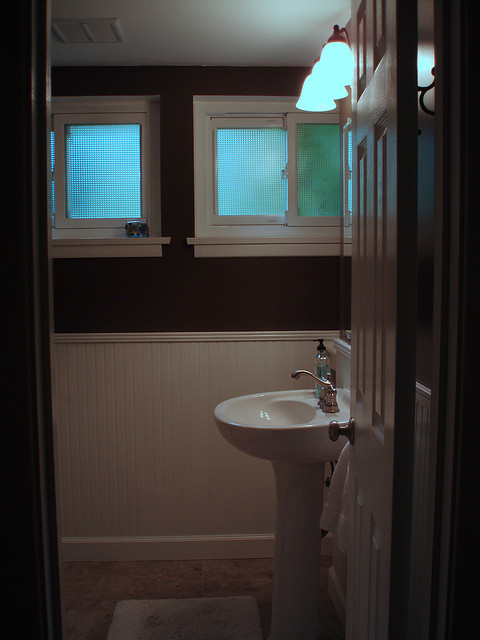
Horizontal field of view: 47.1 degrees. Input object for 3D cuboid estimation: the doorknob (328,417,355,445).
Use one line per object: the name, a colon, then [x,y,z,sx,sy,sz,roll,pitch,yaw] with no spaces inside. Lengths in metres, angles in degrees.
doorknob: [0.238,0.236,1.265,0.034,0.080,0.065,1,2,3]

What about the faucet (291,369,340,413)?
faucet: [0.247,0.225,1.745,0.095,0.152,0.130,-8,5,3]

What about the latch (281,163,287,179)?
latch: [0.208,-0.682,2.526,0.014,0.067,0.034,-2,3,-40]

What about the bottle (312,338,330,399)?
bottle: [0.281,0.174,1.884,0.055,0.215,0.073,1,-8,-4]

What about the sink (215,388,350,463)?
sink: [0.124,0.347,1.725,0.427,0.192,0.495,0,5,16]
